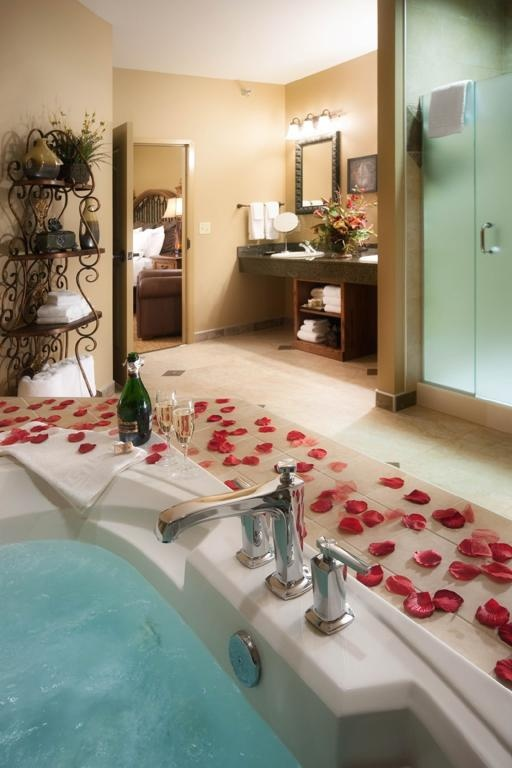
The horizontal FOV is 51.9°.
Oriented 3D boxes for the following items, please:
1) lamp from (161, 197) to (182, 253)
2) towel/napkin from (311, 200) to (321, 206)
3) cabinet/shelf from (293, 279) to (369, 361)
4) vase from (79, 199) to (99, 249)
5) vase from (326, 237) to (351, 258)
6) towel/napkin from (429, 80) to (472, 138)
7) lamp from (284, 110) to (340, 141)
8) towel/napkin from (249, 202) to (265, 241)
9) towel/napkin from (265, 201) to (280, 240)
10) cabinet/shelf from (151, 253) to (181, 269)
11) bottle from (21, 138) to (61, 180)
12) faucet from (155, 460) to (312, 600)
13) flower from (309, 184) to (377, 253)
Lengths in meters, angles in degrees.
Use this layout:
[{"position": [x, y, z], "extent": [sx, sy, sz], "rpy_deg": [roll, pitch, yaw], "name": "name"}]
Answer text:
[{"position": [-1.104, -2.077, 6.898], "extent": [0.249, 0.744, 0.807], "rpy_deg": [-6, 15, -16], "name": "lamp"}, {"position": [0.639, -1.911, 5.548], "extent": [0.073, 0.020, 0.077], "rpy_deg": [-1, 11, -8], "name": "towel/napkin"}, {"position": [0.722, -0.636, 4.962], "extent": [0.523, 0.679, 0.797], "rpy_deg": [-12, 17, -34], "name": "cabinet/shelf"}, {"position": [-1.072, -1.030, 3.338], "extent": [0.112, 0.321, 0.120], "rpy_deg": [5, 36, -13], "name": "vase"}, {"position": [0.729, -1.206, 4.651], "extent": [0.169, 0.147, 0.157], "rpy_deg": [-7, 15, -32], "name": "vase"}, {"position": [1.069, -1.526, 2.935], "extent": [0.069, 0.256, 0.225], "rpy_deg": [-11, 17, -34], "name": "towel/napkin"}, {"position": [0.577, -2.604, 5.358], "extent": [0.231, 0.300, 0.678], "rpy_deg": [-14, 23, -31], "name": "lamp"}, {"position": [-0.008, -1.755, 5.656], "extent": [0.181, 0.361, 0.129], "rpy_deg": [0, 13, 7], "name": "towel/napkin"}, {"position": [0.158, -1.764, 5.654], "extent": [0.145, 0.368, 0.130], "rpy_deg": [-1, 13, 3], "name": "towel/napkin"}, {"position": [-1.094, -1.497, 6.480], "extent": [0.246, 0.152, 0.857], "rpy_deg": [-8, 16, -22], "name": "cabinet/shelf"}, {"position": [-1.151, -1.192, 2.872], "extent": [0.217, 0.261, 0.219], "rpy_deg": [-3, 7, -17], "name": "bottle"}, {"position": [-0.050, 0.185, 0.739], "extent": [0.239, 0.209, 0.126], "rpy_deg": [-7, 16, -31], "name": "faucet"}, {"position": [0.839, -1.505, 4.893], "extent": [0.519, 0.589, 0.917], "rpy_deg": [1, 15, 13], "name": "flower"}]
